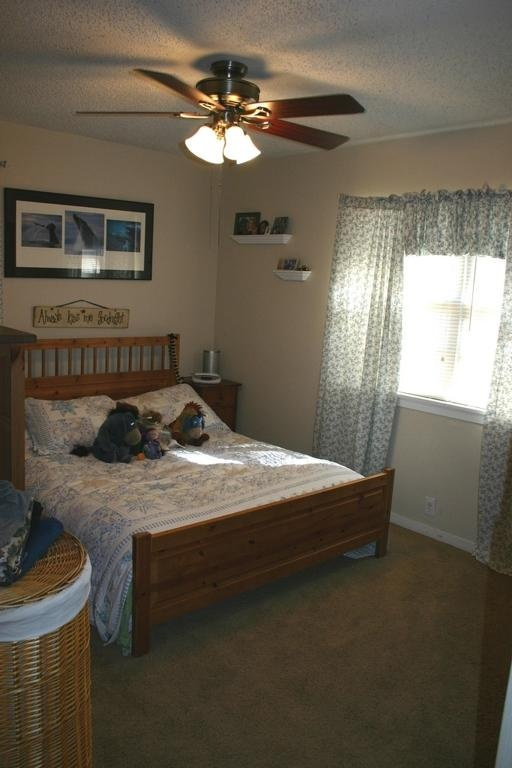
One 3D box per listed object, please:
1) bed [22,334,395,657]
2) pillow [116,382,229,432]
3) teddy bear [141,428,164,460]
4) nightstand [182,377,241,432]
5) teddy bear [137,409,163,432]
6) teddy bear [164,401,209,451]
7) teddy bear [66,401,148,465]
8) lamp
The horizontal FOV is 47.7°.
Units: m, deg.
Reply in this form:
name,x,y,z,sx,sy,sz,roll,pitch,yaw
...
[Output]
name,x,y,z,sx,sy,sz,roll,pitch,yaw
bed,-0.380,0.319,3.548,2.176,1.314,2.126,-4,4,-43
pillow,-0.580,0.141,3.943,0.437,0.113,0.436,-6,25,-38
teddy bear,-0.608,0.361,3.426,0.070,0.157,0.120,-31,-27,32
nightstand,-0.341,0.187,4.706,0.301,0.466,0.333,-5,19,-19
teddy bear,-0.633,0.216,3.527,0.101,0.093,0.125,4,-11,-27
teddy bear,-0.442,0.270,3.776,0.211,0.253,0.284,10,-16,-42
teddy bear,-0.881,0.305,3.425,0.392,0.342,0.209,3,5,12
lamp,-0.102,-0.908,2.197,0.217,0.084,0.228,0,6,-38
